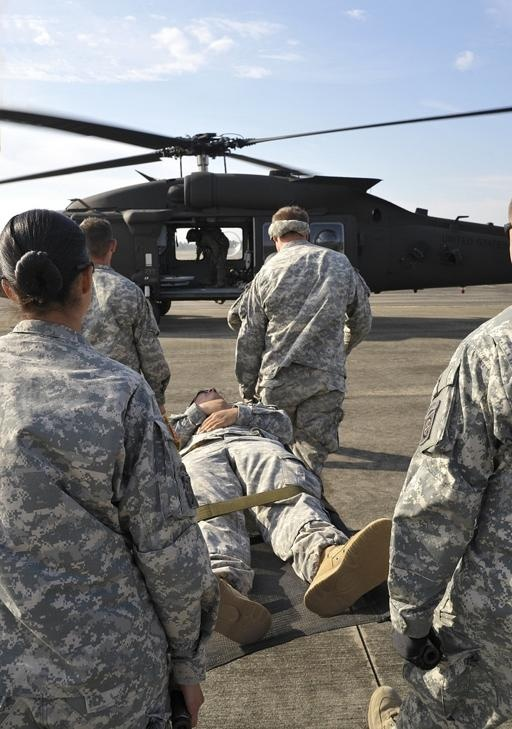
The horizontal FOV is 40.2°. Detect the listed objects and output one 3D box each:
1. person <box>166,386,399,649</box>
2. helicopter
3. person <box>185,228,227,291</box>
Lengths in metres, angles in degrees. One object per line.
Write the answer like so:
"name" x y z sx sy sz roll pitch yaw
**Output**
"person" 0.046 0.573 2.911 0.506 0.295 1.177 -27 13 -1
"helicopter" 0.816 -2.548 12.787 6.654 2.084 5.368 2 14 -5
"person" -0.899 -2.177 13.991 0.968 1.053 0.483 1 13 -1
